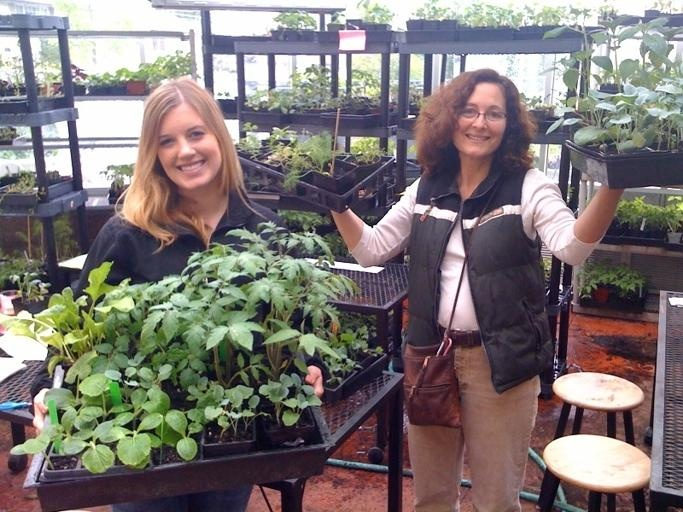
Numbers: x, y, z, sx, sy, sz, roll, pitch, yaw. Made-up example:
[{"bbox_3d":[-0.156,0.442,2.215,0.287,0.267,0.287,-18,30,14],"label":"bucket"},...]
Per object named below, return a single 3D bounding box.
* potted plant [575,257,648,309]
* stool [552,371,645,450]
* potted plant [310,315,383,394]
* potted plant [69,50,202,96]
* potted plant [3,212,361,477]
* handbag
[{"bbox_3d":[2.475,0.282,4.881,0.482,0.283,0.480,4,9,29],"label":"potted plant"},{"bbox_3d":[1.240,0.764,2.668,0.382,0.439,0.393,5,15,26],"label":"stool"},{"bbox_3d":[0.037,0.452,2.422,0.281,0.131,0.374,-15,2,30],"label":"potted plant"},{"bbox_3d":[-1.891,-1.592,4.984,0.777,0.235,0.558,-1,10,11],"label":"potted plant"},{"bbox_3d":[-0.435,0.386,1.640,0.860,0.477,0.746,-12,35,2],"label":"potted plant"},{"bbox_3d":[0.355,0.486,2.104,0.239,0.340,0.155,3,15,18],"label":"handbag"}]
